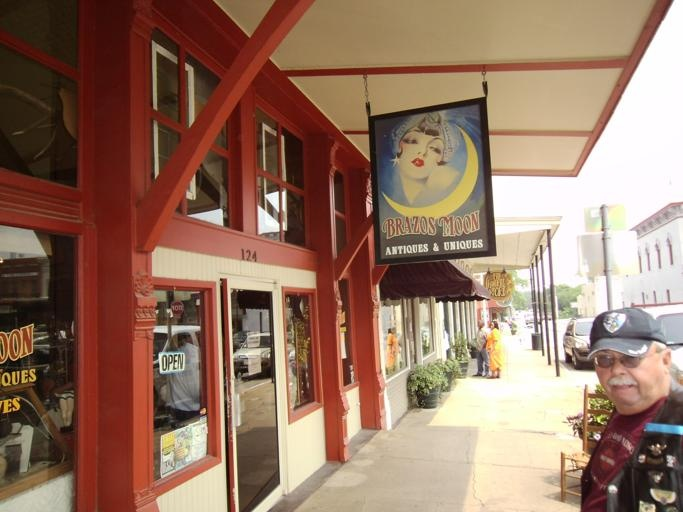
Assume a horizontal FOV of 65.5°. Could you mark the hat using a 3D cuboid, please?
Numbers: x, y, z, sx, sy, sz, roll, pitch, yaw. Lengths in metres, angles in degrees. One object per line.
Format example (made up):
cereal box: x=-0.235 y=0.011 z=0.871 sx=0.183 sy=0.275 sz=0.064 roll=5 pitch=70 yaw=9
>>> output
hat: x=1.895 y=0.523 z=3.556 sx=0.599 sy=0.342 sz=0.444 roll=11 pitch=-17 yaw=-41
